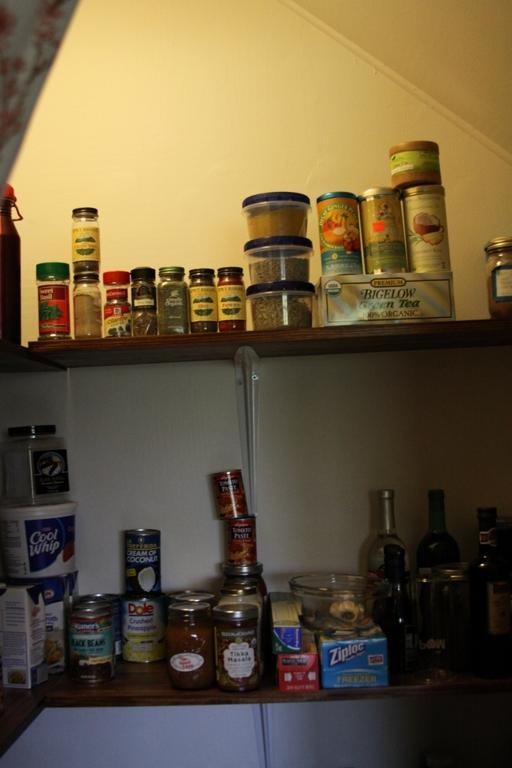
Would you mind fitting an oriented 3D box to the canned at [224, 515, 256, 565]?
[{"bbox_3d":[-0.025,0.281,1.221,0.080,0.117,0.071,0,-17,-2],"label":"canned"}]

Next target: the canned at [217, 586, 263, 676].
[{"bbox_3d":[-0.025,0.391,1.063,0.099,0.121,0.127,1,-14,-1],"label":"canned"}]

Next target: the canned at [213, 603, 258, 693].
[{"bbox_3d":[-0.029,0.409,1.056,0.070,0.123,0.041,-4,-3,1],"label":"canned"}]

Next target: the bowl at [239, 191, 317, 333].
[{"bbox_3d":[0.045,-0.204,1.149,0.128,0.238,0.110,-3,-3,-14],"label":"bowl"}]

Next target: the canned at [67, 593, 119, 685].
[{"bbox_3d":[-0.270,0.425,1.116,0.071,0.120,0.035,-3,-4,-18],"label":"canned"}]

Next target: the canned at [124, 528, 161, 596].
[{"bbox_3d":[-0.207,0.324,1.235,0.061,0.114,0.036,-4,-3,-5],"label":"canned"}]

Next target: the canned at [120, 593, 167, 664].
[{"bbox_3d":[-0.198,0.427,1.199,0.103,0.113,0.102,0,-9,2],"label":"canned"}]

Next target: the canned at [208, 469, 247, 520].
[{"bbox_3d":[-0.049,0.208,1.285,0.062,0.088,0.054,-4,-3,-1],"label":"canned"}]
